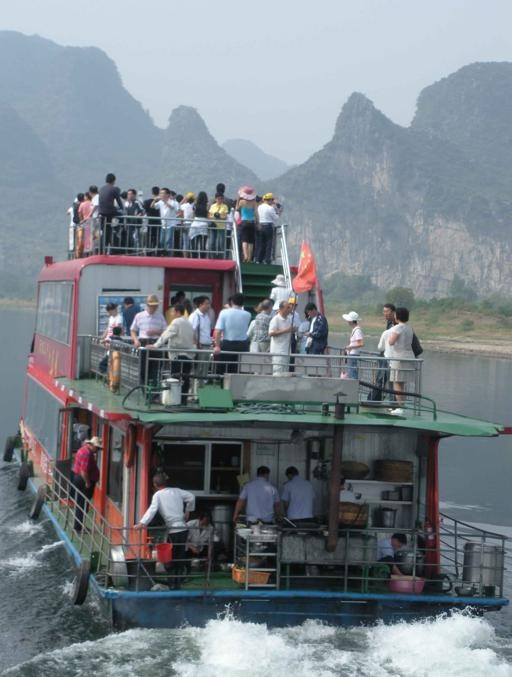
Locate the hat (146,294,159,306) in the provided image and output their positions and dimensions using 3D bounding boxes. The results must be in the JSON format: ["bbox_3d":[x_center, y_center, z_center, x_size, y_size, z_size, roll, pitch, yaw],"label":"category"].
[{"bbox_3d":[-2.002,-0.702,23.799,0.203,0.105,0.242,-1,5,-12],"label":"hat"}]

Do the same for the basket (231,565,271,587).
[{"bbox_3d":[-0.093,3.857,20.432,0.566,0.321,0.602,2,-2,-7],"label":"basket"}]

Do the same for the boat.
[{"bbox_3d":[-0.779,0.949,24.536,6.303,7.781,11.675,2,-2,-22],"label":"boat"}]

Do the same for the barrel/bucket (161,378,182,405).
[{"bbox_3d":[-1.421,0.894,20.629,0.318,0.446,0.363,2,-2,-8],"label":"barrel/bucket"}]

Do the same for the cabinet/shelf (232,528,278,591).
[{"bbox_3d":[0.099,3.431,21.004,0.550,0.993,1.393,1,16,1],"label":"cabinet/shelf"}]

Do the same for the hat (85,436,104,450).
[{"bbox_3d":[-3.111,2.009,24.129,0.217,0.118,0.226,9,-29,33],"label":"hat"}]

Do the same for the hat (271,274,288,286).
[{"bbox_3d":[0.468,-1.197,25.733,0.267,0.154,0.323,7,-9,3],"label":"hat"}]

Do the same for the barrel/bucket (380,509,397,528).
[{"bbox_3d":[2.351,3.158,22.245,0.258,0.399,0.329,7,-8,-19],"label":"barrel/bucket"}]

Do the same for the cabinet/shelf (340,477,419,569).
[{"bbox_3d":[2.239,3.257,21.971,1.462,1.481,0.542,-5,-15,41],"label":"cabinet/shelf"}]

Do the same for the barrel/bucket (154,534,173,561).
[{"bbox_3d":[-1.509,3.393,20.187,0.263,0.249,0.327,1,3,7],"label":"barrel/bucket"}]
